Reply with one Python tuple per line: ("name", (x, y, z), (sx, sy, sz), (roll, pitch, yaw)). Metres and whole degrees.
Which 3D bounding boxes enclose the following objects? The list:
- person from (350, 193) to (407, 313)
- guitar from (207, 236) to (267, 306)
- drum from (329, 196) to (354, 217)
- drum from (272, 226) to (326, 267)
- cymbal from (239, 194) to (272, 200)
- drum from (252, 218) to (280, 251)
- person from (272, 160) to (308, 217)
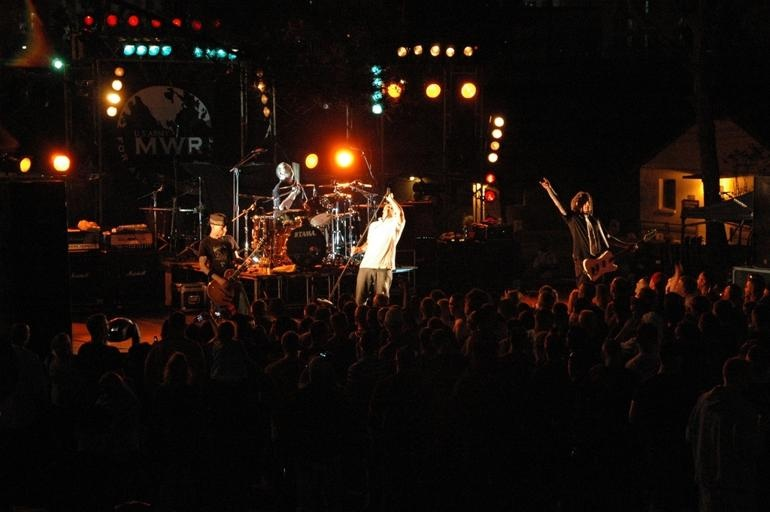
("person", (-0.087, -0.103, 15.263), (0.912, 2.285, 0.844), (9, -12, -7))
("guitar", (-3.080, 0.426, 15.792), (0.670, 1.186, 1.305), (4, 13, 11))
("drum", (-0.950, -1.093, 17.696), (0.519, 0.374, 0.559), (1, 5, 0))
("drum", (-1.594, -0.268, 16.375), (0.907, 0.920, 0.620), (1, 21, -12))
("cymbal", (-2.887, -1.343, 18.009), (0.653, 0.123, 1.190), (3, -2, -12))
("drum", (-2.416, -0.464, 16.857), (0.709, 0.699, 0.718), (4, 2, -1))
("person", (-2.064, -1.467, 17.615), (0.652, 1.021, 2.521), (3, -2, -7))
